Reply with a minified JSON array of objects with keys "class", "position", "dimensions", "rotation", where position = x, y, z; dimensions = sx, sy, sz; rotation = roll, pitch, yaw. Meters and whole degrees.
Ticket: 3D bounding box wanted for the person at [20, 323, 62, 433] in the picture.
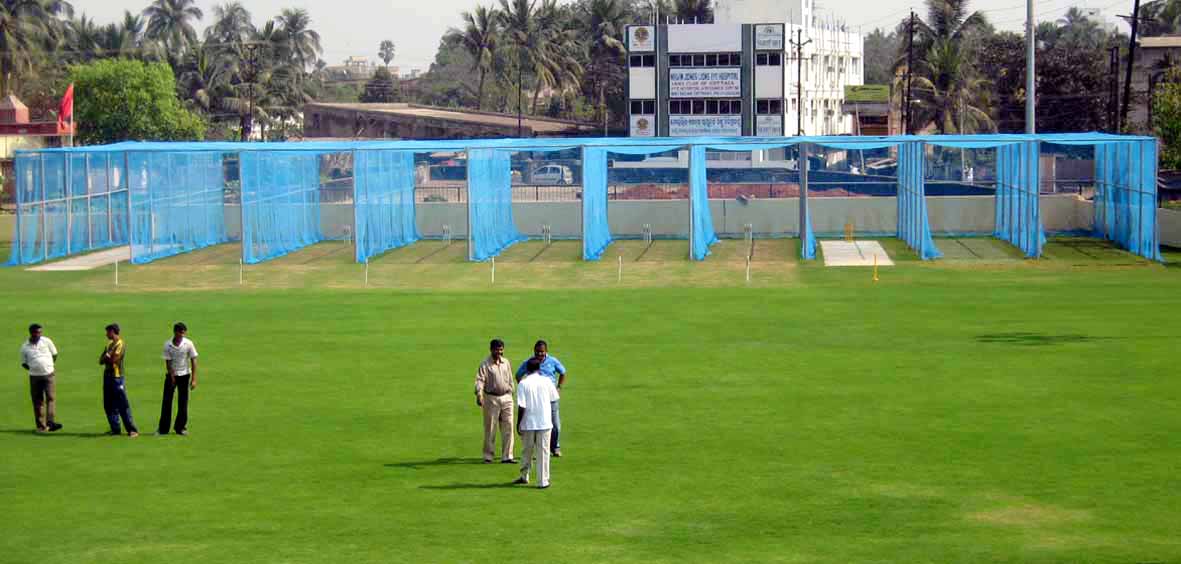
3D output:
[{"class":"person","position":[-20.691,3.566,52.065],"dimensions":[1.215,3.992,0.796],"rotation":[0,8,16]}]
